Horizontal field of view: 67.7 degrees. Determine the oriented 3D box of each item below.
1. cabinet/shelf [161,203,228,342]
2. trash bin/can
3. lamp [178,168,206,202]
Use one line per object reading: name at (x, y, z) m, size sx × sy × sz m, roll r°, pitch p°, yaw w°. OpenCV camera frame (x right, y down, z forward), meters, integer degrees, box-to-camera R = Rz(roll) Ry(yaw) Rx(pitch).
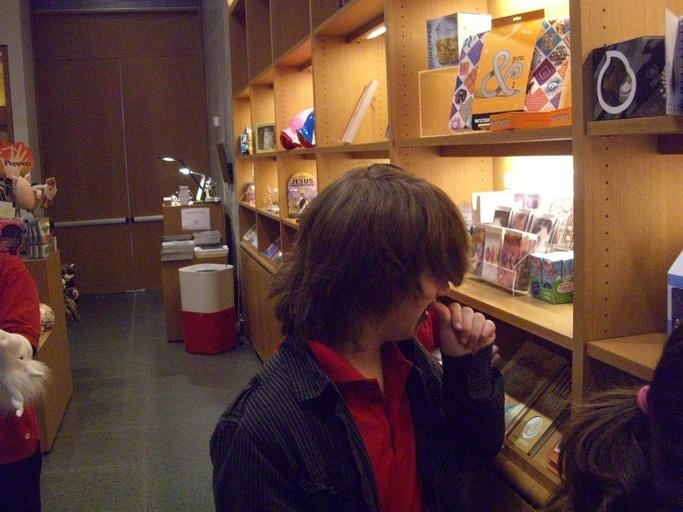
cabinet/shelf at (-1.699, -0.130, 5.741) m, size 0.546 × 1.048 × 0.545 m, roll -10°, pitch 18°, yaw -42°
trash bin/can at (-1.298, 0.512, 5.007) m, size 0.451 × 0.810 × 0.492 m, roll 0°, pitch 9°, yaw -1°
lamp at (-1.822, -0.857, 6.219) m, size 0.308 × 0.486 × 0.193 m, roll 5°, pitch 31°, yaw -18°
